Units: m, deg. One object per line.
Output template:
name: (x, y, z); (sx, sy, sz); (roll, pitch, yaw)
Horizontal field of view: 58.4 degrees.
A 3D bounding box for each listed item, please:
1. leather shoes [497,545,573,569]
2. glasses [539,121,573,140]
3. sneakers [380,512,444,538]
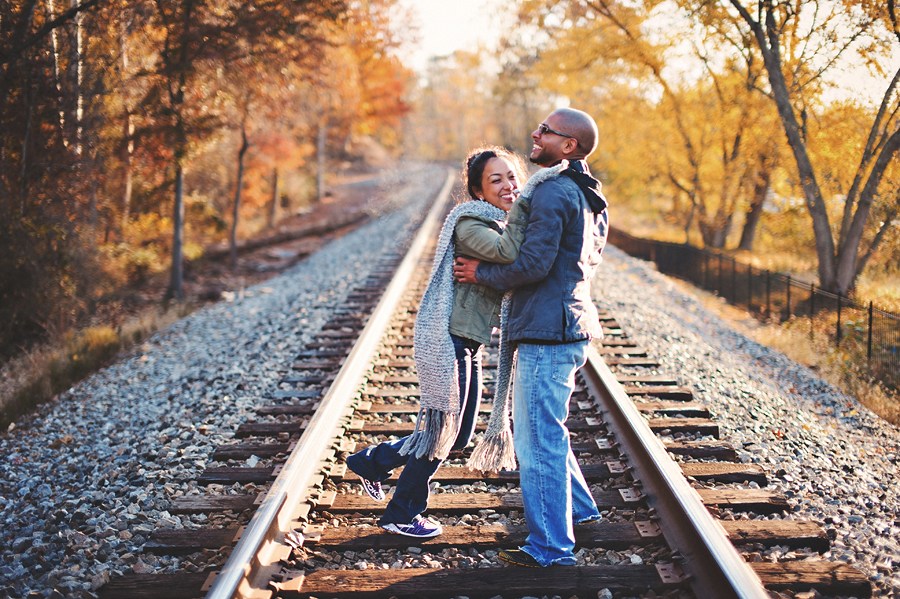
leather shoes: (0.704, 2.063, 6.669); (0.577, 0.250, 0.223); (3, -5, 6)
glasses: (0.853, -1.385, 6.643); (0.174, 0.057, 0.181); (15, 9, -8)
sneakers: (-0.325, 1.886, 6.821); (0.516, 0.261, 0.210); (2, 22, -2)
